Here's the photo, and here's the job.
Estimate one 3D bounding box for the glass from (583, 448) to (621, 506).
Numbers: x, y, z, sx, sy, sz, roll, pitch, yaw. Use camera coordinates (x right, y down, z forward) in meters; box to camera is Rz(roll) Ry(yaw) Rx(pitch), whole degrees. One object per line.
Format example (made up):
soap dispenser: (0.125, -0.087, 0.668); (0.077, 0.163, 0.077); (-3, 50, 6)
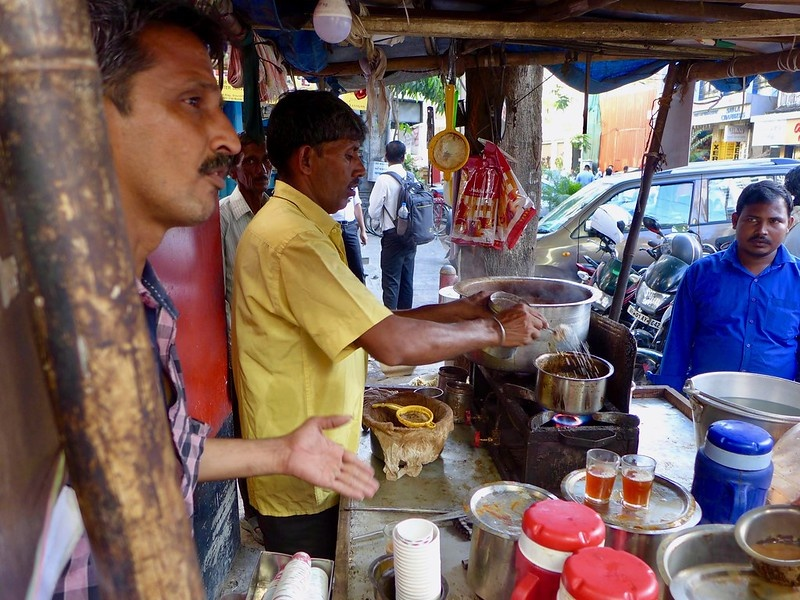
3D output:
glass: (0.586, 0.535, 1.740); (0.122, 0.136, 0.122); (9, -8, -7)

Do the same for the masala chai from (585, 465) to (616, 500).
masala chai: (0.576, 0.528, 1.693); (0.077, 0.071, 0.088); (2, -2, -15)

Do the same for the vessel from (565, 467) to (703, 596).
vessel: (0.688, 0.678, 1.689); (0.245, 0.248, 0.250); (-3, 11, -8)

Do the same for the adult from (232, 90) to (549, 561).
adult: (-0.054, 0.373, 2.587); (1.268, 2.399, 0.962); (-2, 9, -14)

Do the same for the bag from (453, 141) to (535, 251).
bag: (0.573, -0.666, 3.646); (0.644, 0.874, 0.122); (6, 13, 27)

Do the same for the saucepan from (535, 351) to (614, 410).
saucepan: (0.674, 0.328, 2.274); (0.289, 0.164, 0.379); (2, 12, 14)

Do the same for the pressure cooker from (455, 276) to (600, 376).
pressure cooker: (0.640, 0.067, 2.678); (0.480, 0.245, 0.522); (0, 6, -1)

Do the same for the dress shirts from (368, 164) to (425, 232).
dress shirts: (-0.135, -1.324, 7.748); (0.737, 1.128, 0.828); (4, 8, 12)

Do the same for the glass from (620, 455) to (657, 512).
glass: (0.696, 0.543, 1.708); (0.107, 0.124, 0.107); (5, -2, -35)

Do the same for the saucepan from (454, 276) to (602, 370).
saucepan: (0.636, 0.087, 2.666); (0.575, 0.279, 0.599); (-5, 11, -16)

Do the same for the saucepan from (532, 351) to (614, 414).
saucepan: (0.663, 0.336, 2.238); (0.292, 0.188, 0.288); (2, 14, 11)
